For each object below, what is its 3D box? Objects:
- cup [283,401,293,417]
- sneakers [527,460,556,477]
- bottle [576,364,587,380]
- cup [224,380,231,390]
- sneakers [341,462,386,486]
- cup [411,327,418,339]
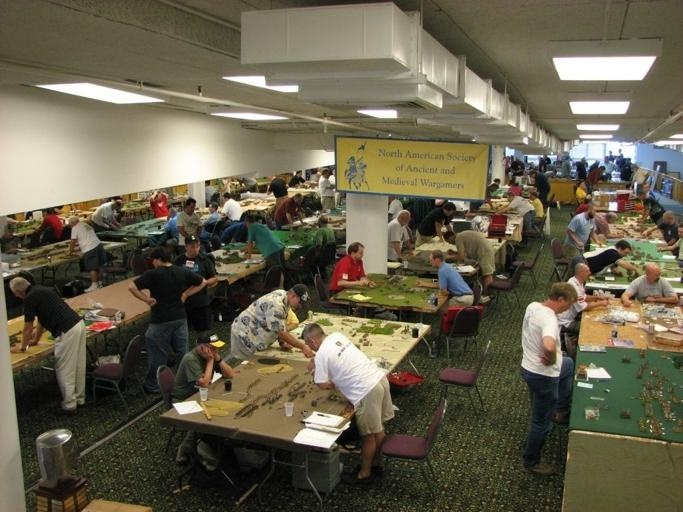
[{"bbox_3d":[-0.546,1.631,4.843,0.121,0.111,0.114,1,10,0],"label":"cup"},{"bbox_3d":[2.300,2.446,5.219,0.265,0.097,0.130,-3,16,18],"label":"sneakers"},{"bbox_3d":[2.782,1.364,5.301,0.121,0.120,0.133,0,5,13],"label":"bottle"},{"bbox_3d":[-1.314,1.522,5.362,0.095,0.096,0.089,3,11,0],"label":"cup"},{"bbox_3d":[0.249,2.456,5.117,0.350,0.103,0.199,-3,4,-6],"label":"sneakers"},{"bbox_3d":[1.083,1.129,6.688,0.100,0.102,0.096,-1,8,0],"label":"cup"}]
